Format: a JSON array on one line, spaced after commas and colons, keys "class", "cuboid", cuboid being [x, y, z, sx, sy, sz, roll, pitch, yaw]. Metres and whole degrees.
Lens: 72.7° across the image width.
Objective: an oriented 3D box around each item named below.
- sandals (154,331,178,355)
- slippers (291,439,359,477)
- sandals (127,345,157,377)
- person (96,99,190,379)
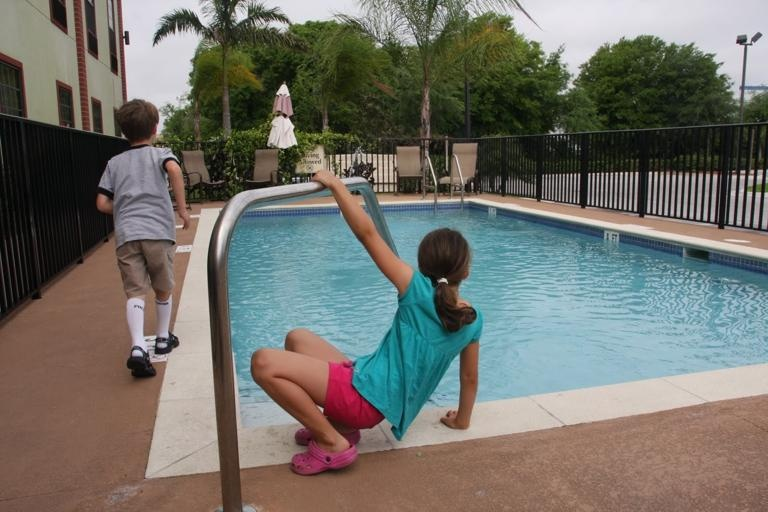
[{"class": "sandals", "cuboid": [-1.706, 0.676, 4.090, 0.081, 0.100, 0.220, 1, 7, 1]}, {"class": "slippers", "cuboid": [-0.322, 1.051, 2.765, 0.302, 0.157, 0.167, 0, -2, -4]}, {"class": "sandals", "cuboid": [-1.724, 0.739, 3.692, 0.174, 0.234, 0.225, -5, 15, -28]}, {"class": "person", "cuboid": [-1.776, -0.012, 3.917, 0.608, 1.585, 0.894, -6, 15, -29]}]
